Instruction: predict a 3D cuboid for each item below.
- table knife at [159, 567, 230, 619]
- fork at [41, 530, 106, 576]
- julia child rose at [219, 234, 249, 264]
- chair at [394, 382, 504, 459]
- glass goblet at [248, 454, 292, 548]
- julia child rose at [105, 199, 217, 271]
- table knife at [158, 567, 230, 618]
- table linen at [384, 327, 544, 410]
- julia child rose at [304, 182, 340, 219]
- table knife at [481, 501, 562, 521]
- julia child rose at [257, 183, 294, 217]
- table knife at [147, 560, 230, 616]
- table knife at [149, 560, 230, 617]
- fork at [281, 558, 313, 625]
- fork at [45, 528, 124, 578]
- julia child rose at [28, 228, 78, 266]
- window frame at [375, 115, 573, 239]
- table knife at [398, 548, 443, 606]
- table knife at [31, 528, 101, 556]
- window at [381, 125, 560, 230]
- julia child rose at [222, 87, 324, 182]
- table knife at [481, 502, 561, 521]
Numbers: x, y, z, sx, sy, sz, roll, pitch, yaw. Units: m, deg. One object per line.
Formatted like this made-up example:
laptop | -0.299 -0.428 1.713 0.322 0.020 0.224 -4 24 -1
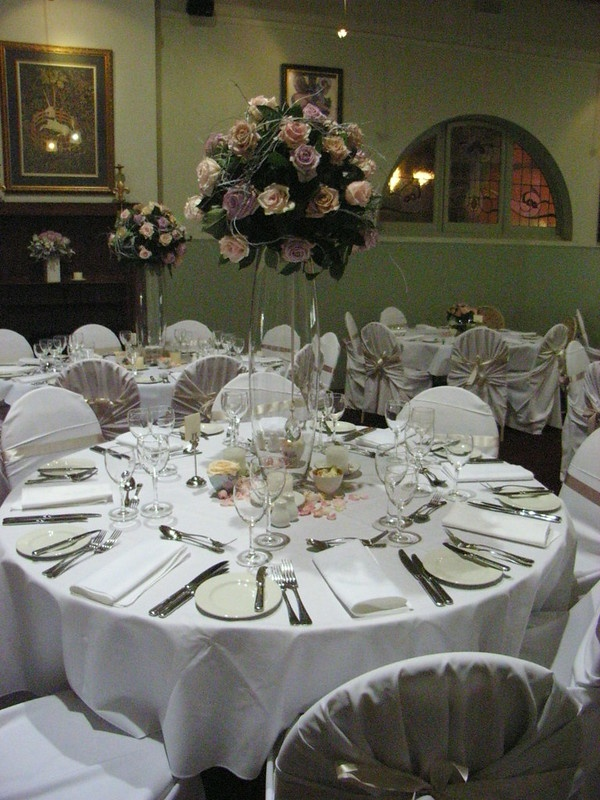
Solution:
table knife | -0.205 0.346 1.146 0.035 0.019 0.172 9 18 24
fork | -0.481 0.314 1.293 0.025 0.025 0.176 22 25 12
julia child rose | -0.176 -0.399 1.619 0.069 0.068 0.071 -4 15 -20
chair | 0.539 0.033 2.305 0.317 0.398 0.344 4 4 18
glass goblet | -0.073 0.222 1.389 0.098 0.212 0.096 0 3 -3
julia child rose | -0.997 -1.115 4.352 0.549 0.493 0.541 9 9 19
table knife | -0.200 0.354 1.140 0.036 0.019 0.199 14 15 20
table linen | 1.474 -0.386 5.326 0.970 0.198 0.934 -12 -4 1
julia child rose | 0.060 -0.499 1.547 0.090 0.081 0.063 0 15 -5
table knife | 0.558 0.284 1.554 0.237 0.024 0.060 4 15 20
julia child rose | -0.058 -0.490 1.501 0.090 0.071 0.060 -2 15 -14
table knife | -0.215 0.354 1.134 0.040 0.022 0.201 13 16 20
table knife | -0.207 0.338 1.153 0.040 0.022 0.198 13 16 20
fork | -0.009 0.357 1.143 0.021 0.019 0.169 5 25 -17
fork | -0.458 0.320 1.304 0.035 0.024 0.211 19 14 19
julia child rose | -2.234 -1.373 5.407 0.356 0.250 0.348 -12 27 -37
window frame | 2.031 -2.608 7.186 2.503 1.310 0.101 -2 10 -12
table knife | 0.236 0.351 1.209 0.023 0.011 0.230 -4 14 -12
table knife | -0.504 0.295 1.337 0.029 0.010 0.204 20 16 28
window | 2.055 -2.595 7.203 2.685 1.268 0.097 -3 11 -14
julia child rose | -0.067 -0.672 1.573 0.256 0.215 0.262 2 14 1
table knife | 0.562 0.284 1.552 0.227 0.024 0.059 4 20 20
